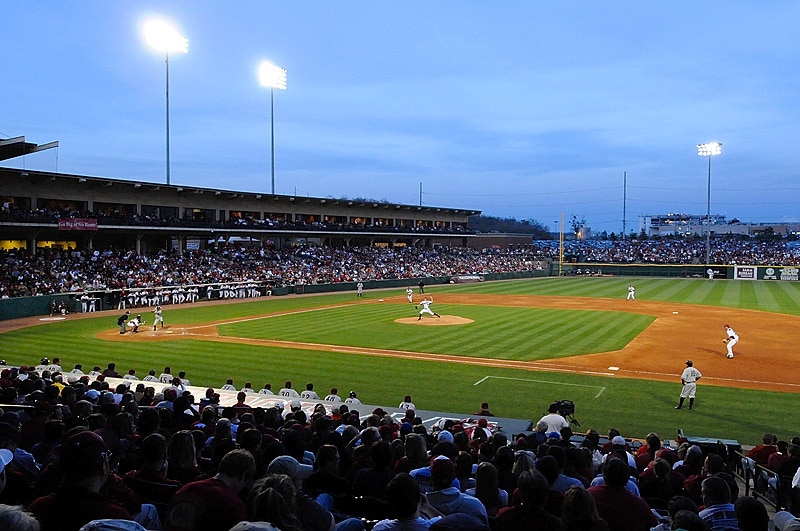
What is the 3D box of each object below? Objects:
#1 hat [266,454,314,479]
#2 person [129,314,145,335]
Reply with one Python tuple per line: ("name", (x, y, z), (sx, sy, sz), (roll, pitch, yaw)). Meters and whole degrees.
("hat", (-2.224, 4.146, 15.863), (0.787, 0.325, 0.476), (-1, 10, -14))
("person", (-14.360, 3.223, 42.027), (0.703, 0.994, 0.858), (16, 12, 5))
